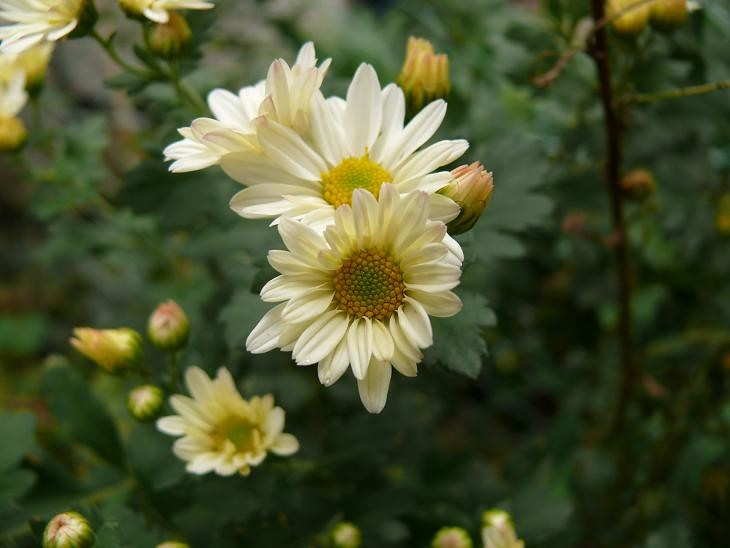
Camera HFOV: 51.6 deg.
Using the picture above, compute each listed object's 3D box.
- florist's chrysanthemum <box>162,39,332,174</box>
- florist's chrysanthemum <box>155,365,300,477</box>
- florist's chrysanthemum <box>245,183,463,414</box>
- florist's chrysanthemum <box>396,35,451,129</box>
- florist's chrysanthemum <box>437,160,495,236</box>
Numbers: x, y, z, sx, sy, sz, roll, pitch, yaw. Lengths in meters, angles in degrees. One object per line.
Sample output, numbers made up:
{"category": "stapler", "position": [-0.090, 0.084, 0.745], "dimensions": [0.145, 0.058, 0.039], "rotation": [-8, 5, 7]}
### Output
{"category": "florist's chrysanthemum", "position": [-0.182, -0.251, 1.160], "dimensions": [0.274, 0.120, 0.148], "rotation": [-14, 78, -3]}
{"category": "florist's chrysanthemum", "position": [-0.200, 0.246, 1.179], "dimensions": [0.224, 0.278, 0.108], "rotation": [7, 100, -15]}
{"category": "florist's chrysanthemum", "position": [-0.008, 0.017, 1.096], "dimensions": [0.289, 0.090, 0.262], "rotation": [-5, 78, -1]}
{"category": "florist's chrysanthemum", "position": [0.091, -0.301, 1.290], "dimensions": [0.088, 0.092, 0.162], "rotation": [16, 99, 20]}
{"category": "florist's chrysanthemum", "position": [0.155, -0.119, 1.140], "dimensions": [0.064, 0.054, 0.114], "rotation": [32, 104, -7]}
